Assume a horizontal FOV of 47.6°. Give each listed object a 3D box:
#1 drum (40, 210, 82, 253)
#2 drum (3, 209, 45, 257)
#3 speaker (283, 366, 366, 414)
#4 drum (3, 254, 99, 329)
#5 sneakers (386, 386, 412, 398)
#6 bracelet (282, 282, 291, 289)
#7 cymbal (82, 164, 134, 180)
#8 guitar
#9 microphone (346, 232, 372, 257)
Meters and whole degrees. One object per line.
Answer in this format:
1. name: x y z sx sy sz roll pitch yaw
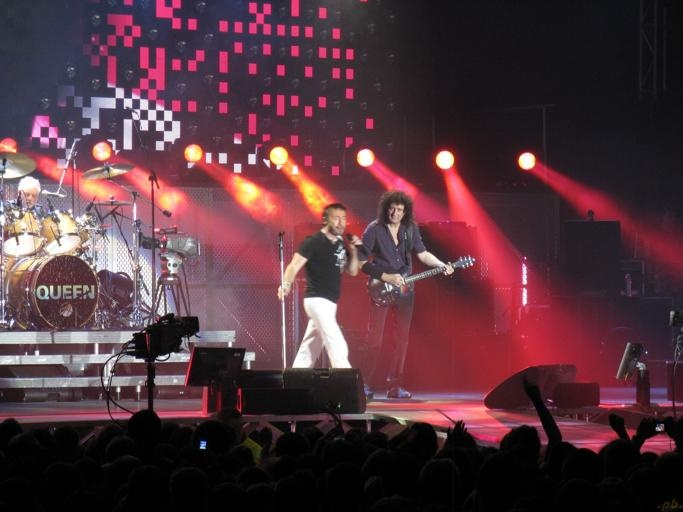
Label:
1. drum: -3.340 -0.282 9.349 0.483 0.474 0.476 -11 -33 -24
2. drum: -3.767 -0.282 9.129 0.436 0.580 0.257 2 -6 -23
3. speaker: -0.131 1.167 6.897 0.722 0.409 0.398 0 -4 1
4. drum: -3.379 0.392 8.955 0.761 0.792 0.974 -3 3 -38
5. sneakers: 0.631 1.507 8.567 0.216 0.071 0.158 1 -2 -2
6. bracelet: -0.564 0.288 7.816 0.064 0.061 0.065 -1 -7 26
7. cymbal: -2.879 -1.049 9.473 0.346 0.115 0.352 4 27 32
8. guitar: 0.937 0.275 8.945 0.589 0.600 1.310 -4 -7 42
9. microphone: 0.163 -0.119 8.465 0.134 0.104 0.400 -16 -27 15
